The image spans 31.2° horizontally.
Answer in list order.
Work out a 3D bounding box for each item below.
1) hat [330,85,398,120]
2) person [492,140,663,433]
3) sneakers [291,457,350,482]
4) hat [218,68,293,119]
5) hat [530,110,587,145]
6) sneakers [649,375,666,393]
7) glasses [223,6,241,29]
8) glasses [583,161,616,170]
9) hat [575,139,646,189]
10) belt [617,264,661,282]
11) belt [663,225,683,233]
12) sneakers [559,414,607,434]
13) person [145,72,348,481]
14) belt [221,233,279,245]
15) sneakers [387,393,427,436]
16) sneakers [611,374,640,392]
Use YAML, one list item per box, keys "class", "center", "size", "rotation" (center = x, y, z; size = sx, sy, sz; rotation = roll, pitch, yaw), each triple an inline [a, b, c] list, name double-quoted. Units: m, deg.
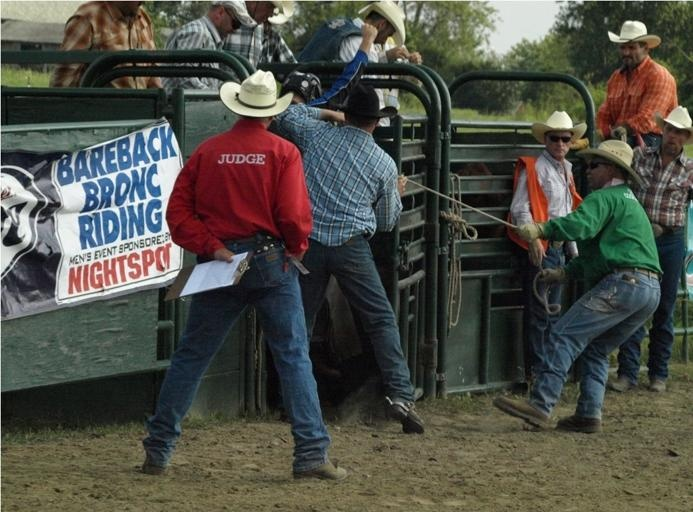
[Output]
- class: "hat"
  center: [0.114, -1.259, 10.208]
  size: [0.393, 0.187, 0.486]
  rotation: [4, 17, -1]
- class: "person"
  center: [2.045, 0.453, 10.484]
  size: [1.165, 2.088, 0.563]
  rotation: [-2, 3, -25]
- class: "sneakers"
  center: [-0.195, 1.605, 9.290]
  size: [0.426, 0.189, 0.158]
  rotation: [-2, 7, -15]
- class: "hat"
  center: [-0.666, -1.225, 9.133]
  size: [0.577, 0.234, 0.610]
  rotation: [-9, 27, -39]
- class: "hat"
  center: [1.963, -1.237, 11.388]
  size: [0.445, 0.205, 0.509]
  rotation: [1, 1, 12]
- class: "sneakers"
  center: [2.979, 1.227, 11.880]
  size: [0.104, 0.121, 0.294]
  rotation: [-2, -9, 13]
- class: "glasses"
  center: [-1.097, -2.257, 11.831]
  size: [0.046, 0.166, 0.155]
  rotation: [-6, -6, 17]
- class: "glasses"
  center: [2.192, -0.780, 10.689]
  size: [0.129, 0.041, 0.126]
  rotation: [11, -3, -6]
- class: "hat"
  center: [2.321, -0.877, 10.681]
  size: [0.625, 0.248, 0.532]
  rotation: [27, 3, 24]
- class: "belt"
  center: [2.504, 0.150, 10.490]
  size: [0.494, 0.125, 0.184]
  rotation: [-3, 4, -38]
- class: "belt"
  center: [3.089, -0.256, 11.764]
  size: [0.090, 0.072, 0.094]
  rotation: [3, 6, 30]
- class: "sneakers"
  center: [2.004, 1.433, 10.530]
  size: [0.371, 0.189, 0.151]
  rotation: [6, 0, 15]
- class: "person"
  center: [-0.749, 0.166, 9.070]
  size: [1.351, 3.019, 0.341]
  rotation: [-1, 3, -1]
- class: "belt"
  center: [-0.689, -0.111, 9.006]
  size: [0.409, 0.132, 0.061]
  rotation: [-1, 3, -4]
- class: "sneakers"
  center: [0.492, 1.314, 10.311]
  size: [0.177, 0.223, 0.453]
  rotation: [-9, -41, 40]
- class: "sneakers"
  center: [2.661, 1.225, 11.834]
  size: [0.282, 0.121, 0.110]
  rotation: [6, -14, -38]
